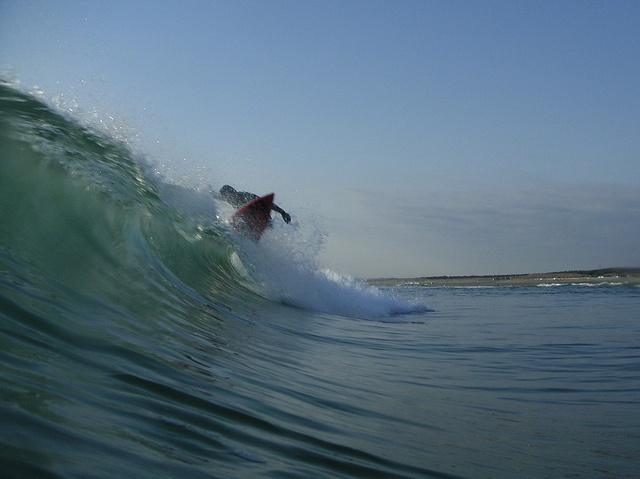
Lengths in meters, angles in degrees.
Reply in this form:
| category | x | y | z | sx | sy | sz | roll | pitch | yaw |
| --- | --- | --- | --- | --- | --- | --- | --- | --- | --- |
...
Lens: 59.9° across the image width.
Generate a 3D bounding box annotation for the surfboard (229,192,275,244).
| category | x | y | z | sx | sy | sz | roll | pitch | yaw |
| --- | --- | --- | --- | --- | --- | --- | --- | --- | --- |
| surfboard | -1.388 | -0.553 | 12.141 | 0.674 | 0.239 | 2.838 | 35 | 12 | -7 |
